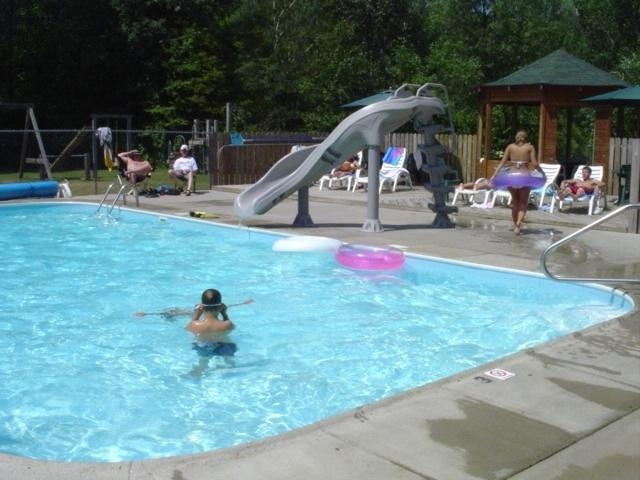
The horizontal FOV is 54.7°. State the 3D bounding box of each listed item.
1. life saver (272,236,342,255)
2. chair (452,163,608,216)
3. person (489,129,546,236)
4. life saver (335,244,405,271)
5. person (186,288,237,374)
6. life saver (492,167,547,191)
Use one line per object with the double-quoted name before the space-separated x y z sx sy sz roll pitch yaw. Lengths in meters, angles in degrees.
"life saver" -0.267 0.110 10.237 1.185 0.262 0.432 5 14 19
"chair" 4.983 -0.986 14.090 4.108 1.229 1.853 -2 12 -17
"person" 3.428 -1.018 11.224 1.075 1.860 0.906 7 12 19
"life saver" 0.676 0.279 9.090 1.016 0.295 0.453 8 15 30
"person" -1.155 0.855 6.503 0.505 0.692 0.946 -4 14 -13
"life saver" 3.561 -1.068 11.070 0.910 0.229 0.817 -1 2 1
